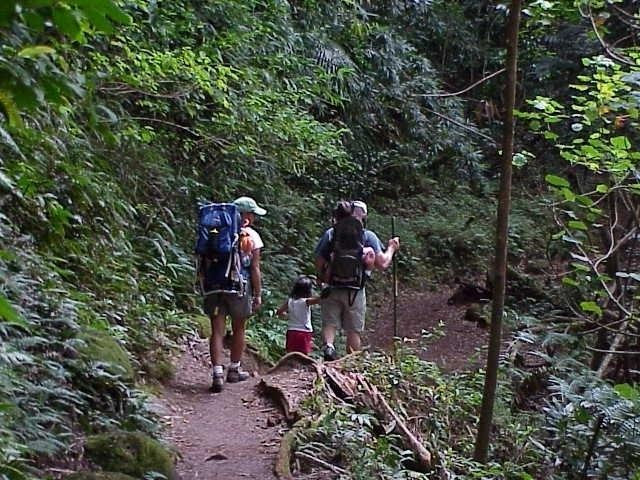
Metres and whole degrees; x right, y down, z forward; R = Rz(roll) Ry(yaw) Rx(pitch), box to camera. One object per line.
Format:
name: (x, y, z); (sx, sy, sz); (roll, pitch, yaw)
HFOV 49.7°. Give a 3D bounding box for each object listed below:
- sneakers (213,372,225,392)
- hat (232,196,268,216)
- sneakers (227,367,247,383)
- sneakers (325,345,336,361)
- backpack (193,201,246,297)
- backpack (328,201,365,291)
sneakers: (-1.227, 1.694, 8.194); (0.141, 0.221, 0.103); (2, 8, 6)
hat: (-0.865, -0.410, 8.687); (0.459, 0.179, 0.287); (19, 12, -30)
sneakers: (-1.028, 1.682, 8.654); (0.120, 0.151, 0.325); (5, 3, 22)
sneakers: (0.123, 1.441, 8.709); (0.147, 0.193, 0.448); (1, 8, 2)
backpack: (-1.194, 0.122, 8.238); (0.559, 1.109, 0.255); (0, 8, -8)
backpack: (0.347, 0.083, 8.751); (0.479, 1.081, 0.305); (1, 8, 0)
